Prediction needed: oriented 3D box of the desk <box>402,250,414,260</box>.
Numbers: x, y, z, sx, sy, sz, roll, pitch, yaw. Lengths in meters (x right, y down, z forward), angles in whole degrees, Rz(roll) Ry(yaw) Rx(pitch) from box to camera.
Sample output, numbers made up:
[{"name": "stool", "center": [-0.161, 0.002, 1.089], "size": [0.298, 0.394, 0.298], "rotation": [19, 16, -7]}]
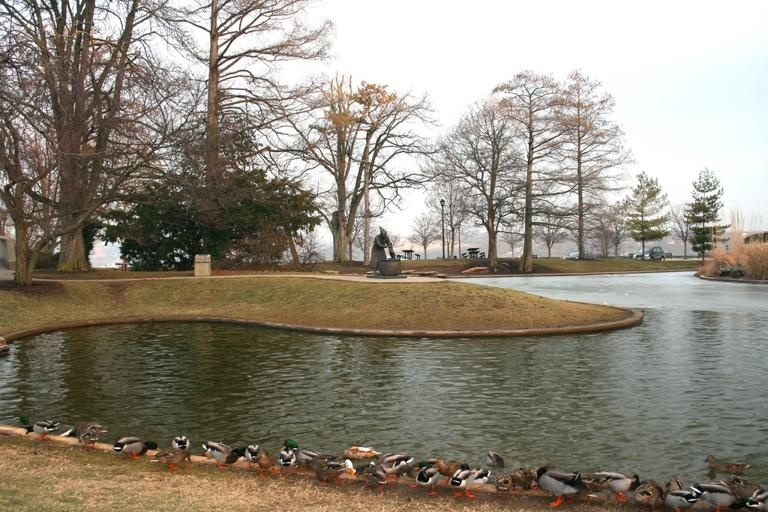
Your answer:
[{"name": "desk", "center": [2.942, -0.401, 85.627], "size": [2.023, 1.538, 1.837], "rotation": [1, 1, 14]}]

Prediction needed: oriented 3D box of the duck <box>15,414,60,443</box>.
[{"name": "duck", "center": [-8.876, 4.417, 17.616], "size": [0.814, 0.496, 1.217], "rotation": [-7, 11, -30]}]

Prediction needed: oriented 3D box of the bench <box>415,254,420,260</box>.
[{"name": "bench", "center": [4.184, -0.169, 87.249], "size": [0.916, 0.682, 0.820], "rotation": [-1, -3, 9]}]

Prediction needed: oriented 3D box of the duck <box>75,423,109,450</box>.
[{"name": "duck", "center": [-7.350, 4.501, 17.096], "size": [0.655, 0.585, 0.821], "rotation": [-6, 11, -24]}]

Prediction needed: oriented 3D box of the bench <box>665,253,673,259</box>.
[{"name": "bench", "center": [48.103, -0.280, 115.063], "size": [1.472, 0.713, 0.532], "rotation": [-2, -7, 18]}]

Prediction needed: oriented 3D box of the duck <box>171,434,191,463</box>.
[{"name": "duck", "center": [-5.034, 4.654, 16.320], "size": [0.501, 0.630, 0.677], "rotation": [10, -4, -26]}]

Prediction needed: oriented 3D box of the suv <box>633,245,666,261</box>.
[{"name": "suv", "center": [38.973, -0.825, 99.522], "size": [5.086, 1.878, 2.913], "rotation": [2, -2, -18]}]

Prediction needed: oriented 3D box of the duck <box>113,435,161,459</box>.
[{"name": "duck", "center": [-6.151, 4.715, 16.698], "size": [1.176, 0.385, 0.463], "rotation": [8, 1, -25]}]
